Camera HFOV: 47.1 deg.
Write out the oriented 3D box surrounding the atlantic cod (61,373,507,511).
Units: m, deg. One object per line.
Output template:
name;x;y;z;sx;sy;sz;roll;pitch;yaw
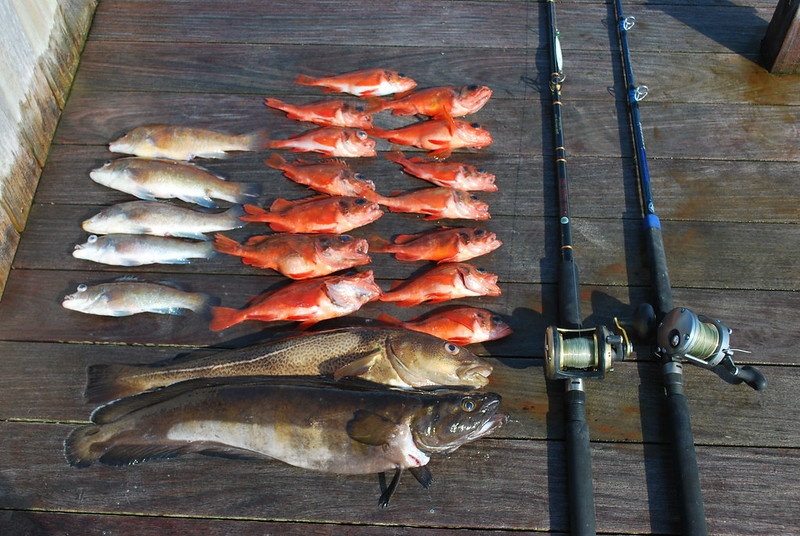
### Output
atlantic cod;-0.650;0.857;5.016;2.382;0.319;0.535;3;59;2
